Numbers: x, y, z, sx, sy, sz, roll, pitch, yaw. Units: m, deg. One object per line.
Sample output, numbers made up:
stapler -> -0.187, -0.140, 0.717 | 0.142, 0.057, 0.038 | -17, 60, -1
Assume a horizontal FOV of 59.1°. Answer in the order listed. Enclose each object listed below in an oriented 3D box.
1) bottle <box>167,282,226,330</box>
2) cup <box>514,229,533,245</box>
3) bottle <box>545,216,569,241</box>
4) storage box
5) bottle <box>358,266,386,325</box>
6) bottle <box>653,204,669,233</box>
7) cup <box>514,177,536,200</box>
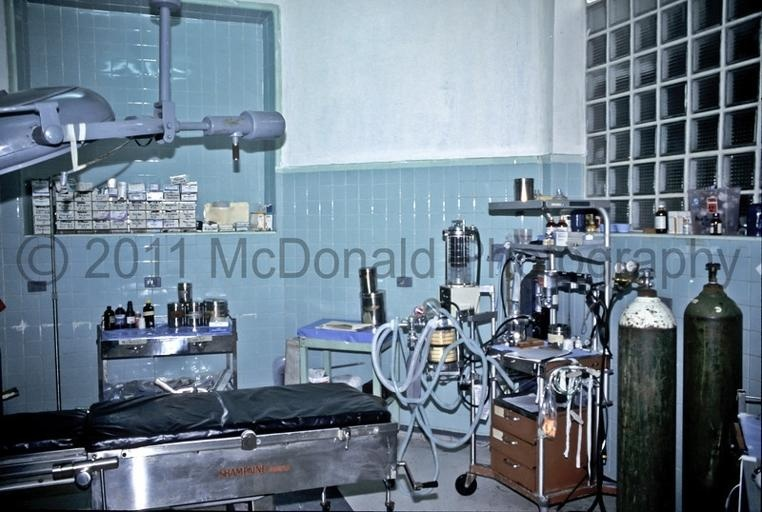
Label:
bottle -> -1.784, 0.531, 6.624 | 0.622, 0.455, 0.349 | 1, -2, -10
cup -> 1.268, -0.176, 6.129 | 0.165, 0.165, 0.148 | 4, 2, 30
bottle -> 1.427, -0.226, 5.493 | 0.207, 0.300, 0.115 | 0, -5, 1
storage box -> 1.224, 1.422, 5.470 | 0.633, 0.736, 0.740 | 0, -1, -18
bottle -> -0.070, 0.390, 6.464 | 0.224, 0.565, 0.223 | -3, 3, 0
bottle -> 2.191, -0.297, 5.270 | 0.101, 0.229, 0.086 | -3, 3, 0
cup -> 1.255, -0.603, 5.951 | 0.198, 0.237, 0.203 | -1, 3, 0
